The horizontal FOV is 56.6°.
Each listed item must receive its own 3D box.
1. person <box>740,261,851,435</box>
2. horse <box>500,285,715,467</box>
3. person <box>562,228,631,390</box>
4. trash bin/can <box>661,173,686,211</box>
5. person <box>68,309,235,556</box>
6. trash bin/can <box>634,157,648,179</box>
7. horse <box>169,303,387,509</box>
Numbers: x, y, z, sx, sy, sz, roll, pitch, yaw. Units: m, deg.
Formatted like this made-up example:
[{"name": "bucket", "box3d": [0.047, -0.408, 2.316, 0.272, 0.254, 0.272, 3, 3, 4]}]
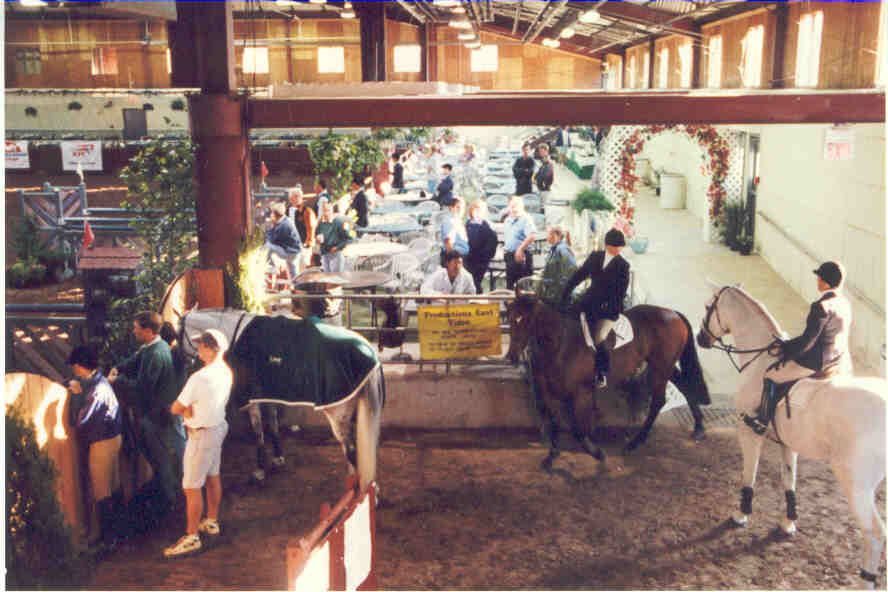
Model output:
[{"name": "person", "box3d": [4.171, 0.648, 9.666, 1.005, 2.023, 0.334, 1, 13, 21]}, {"name": "horse", "box3d": [2.283, 0.994, 11.484, 3.233, 2.356, 0.800, -2, 0, -21]}, {"name": "person", "box3d": [2.055, 0.205, 11.034, 0.795, 2.166, 0.357, -1, 12, 11]}, {"name": "trash bin/can", "box3d": [6.555, -2.880, 23.559, 0.847, 1.357, 0.913, 0, 9, 10]}, {"name": "person", "box3d": [-3.220, 1.562, 9.883, 1.319, 2.650, 0.988, 7, 16, 39]}, {"name": "trash bin/can", "box3d": [6.678, -4.218, 27.783, 0.396, 0.671, 0.495, 0, 12, 12]}, {"name": "horse", "box3d": [-1.994, 1.165, 10.497, 2.841, 1.810, 1.180, 9, 19, 18]}]
